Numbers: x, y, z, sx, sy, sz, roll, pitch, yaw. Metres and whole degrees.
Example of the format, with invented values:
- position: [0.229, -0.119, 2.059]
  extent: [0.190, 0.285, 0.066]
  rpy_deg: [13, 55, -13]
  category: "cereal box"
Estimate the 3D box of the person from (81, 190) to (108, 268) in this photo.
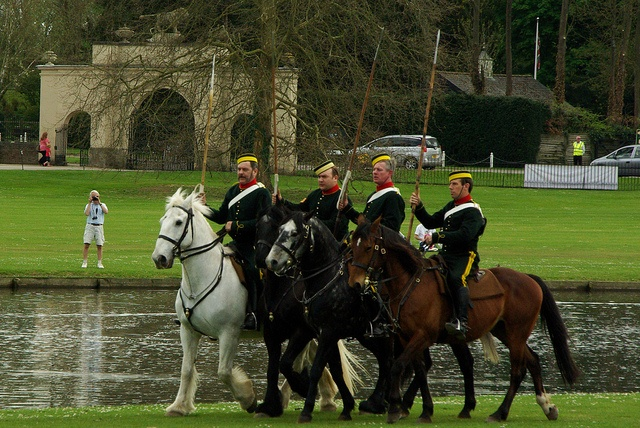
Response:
- position: [-9.191, 0.627, 58.689]
  extent: [1.018, 3.073, 0.966]
  rpy_deg: [2, -7, -11]
  category: "person"

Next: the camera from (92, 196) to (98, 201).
- position: [-9.155, -0.687, 58.656]
  extent: [0.108, 0.182, 0.294]
  rpy_deg: [-1, 0, 29]
  category: "camera"
